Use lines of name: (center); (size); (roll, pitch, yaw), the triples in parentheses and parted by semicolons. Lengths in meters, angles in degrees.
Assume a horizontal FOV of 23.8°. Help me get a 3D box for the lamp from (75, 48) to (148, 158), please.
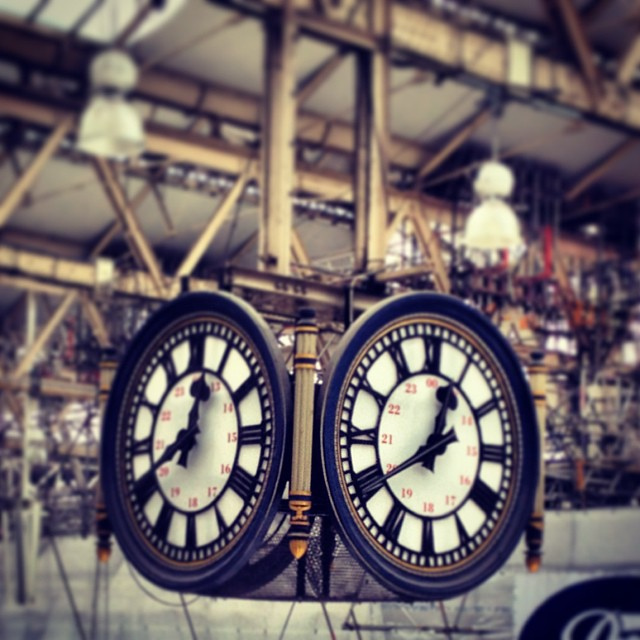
lamp: (-2.091, -2.146, 15.138); (0.627, 1.113, 1.711); (-4, 7, -7)

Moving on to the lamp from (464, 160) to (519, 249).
lamp: (1.734, -1.120, 14.842); (0.618, 1.169, 0.751); (0, 1, -1)

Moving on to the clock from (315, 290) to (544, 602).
clock: (0.889, 1.012, 12.382); (1.893, 2.426, 0.644); (-6, 7, -22)
